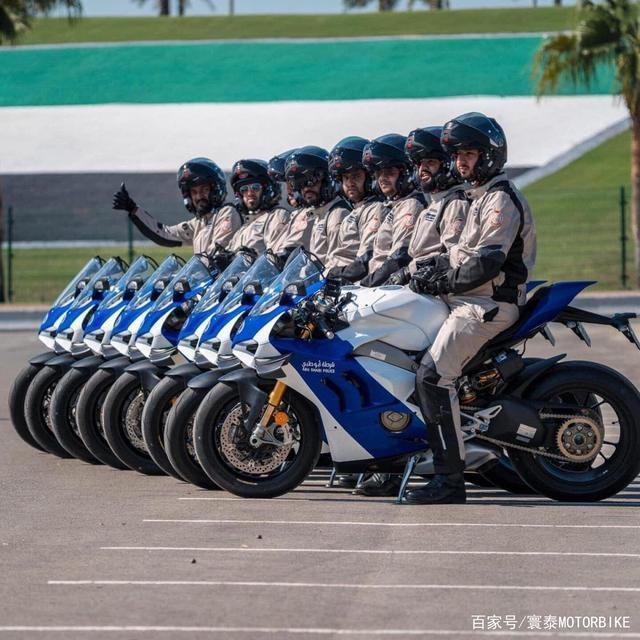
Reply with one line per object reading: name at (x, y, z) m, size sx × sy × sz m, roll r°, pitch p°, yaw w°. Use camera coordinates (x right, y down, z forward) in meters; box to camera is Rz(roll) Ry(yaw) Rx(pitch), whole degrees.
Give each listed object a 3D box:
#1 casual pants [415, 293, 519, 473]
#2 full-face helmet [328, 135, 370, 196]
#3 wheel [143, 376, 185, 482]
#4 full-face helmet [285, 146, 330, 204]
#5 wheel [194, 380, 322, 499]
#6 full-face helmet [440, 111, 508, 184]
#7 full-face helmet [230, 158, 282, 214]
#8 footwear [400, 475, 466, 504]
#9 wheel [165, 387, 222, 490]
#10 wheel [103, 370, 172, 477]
casual pants at (0.972, 0.440, 8.639) m, size 0.582 × 1.204 × 0.303 m, roll -11°, pitch 14°, yaw -40°
full-face helmet at (0.274, -1.332, 10.946) m, size 0.453 × 0.446 × 0.444 m, roll -1°, pitch 43°, yaw 11°
wheel at (-1.166, 0.751, 9.333) m, size 0.251 × 0.585 × 0.684 m, roll -1°, pitch -15°, yaw 10°
full-face helmet at (-0.064, -1.265, 11.170) m, size 0.457 × 0.473 × 0.451 m, roll -7°, pitch 45°, yaw 7°
wheel at (-0.429, 0.779, 8.689) m, size 1.114 × 0.818 × 0.254 m, roll 2°, pitch 9°, yaw 0°
full-face helmet at (1.091, -1.195, 8.914) m, size 0.551 × 0.418 × 0.419 m, roll 0°, pitch 7°, yaw -34°
full-face helmet at (-0.621, -1.226, 11.730) m, size 0.409 × 0.378 × 0.465 m, roll -5°, pitch 6°, yaw 24°
footwear at (0.784, 1.160, 8.746) m, size 0.472 × 0.183 × 0.170 m, roll 2°, pitch 3°, yaw 0°
wheel at (-0.932, 0.830, 8.960) m, size 0.232 × 0.549 × 0.671 m, roll -1°, pitch -3°, yaw 25°
wheel at (-1.450, 0.775, 9.656) m, size 0.257 × 0.633 × 0.812 m, roll -1°, pitch -5°, yaw 44°
